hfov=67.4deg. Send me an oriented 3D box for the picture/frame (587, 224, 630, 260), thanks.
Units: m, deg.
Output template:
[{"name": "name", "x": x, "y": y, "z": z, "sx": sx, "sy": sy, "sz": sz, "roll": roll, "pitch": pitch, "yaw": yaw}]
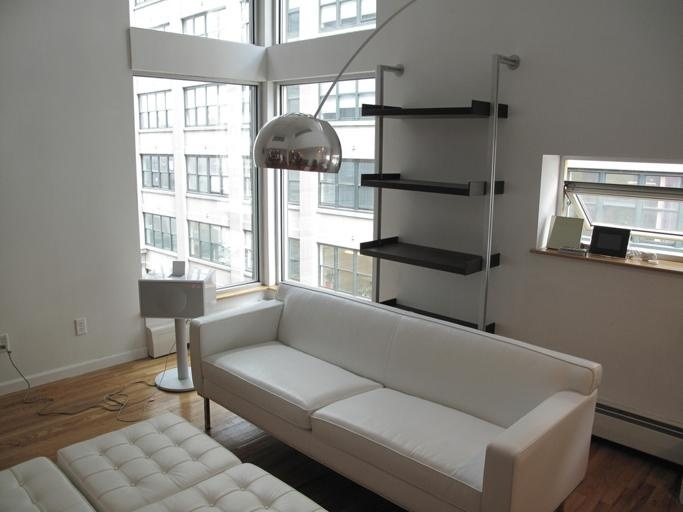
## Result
[{"name": "picture/frame", "x": 1.905, "y": -0.126, "z": 3.626, "sx": 0.237, "sy": 0.221, "sz": 0.134, "roll": 7, "pitch": 26, "yaw": 22}]
